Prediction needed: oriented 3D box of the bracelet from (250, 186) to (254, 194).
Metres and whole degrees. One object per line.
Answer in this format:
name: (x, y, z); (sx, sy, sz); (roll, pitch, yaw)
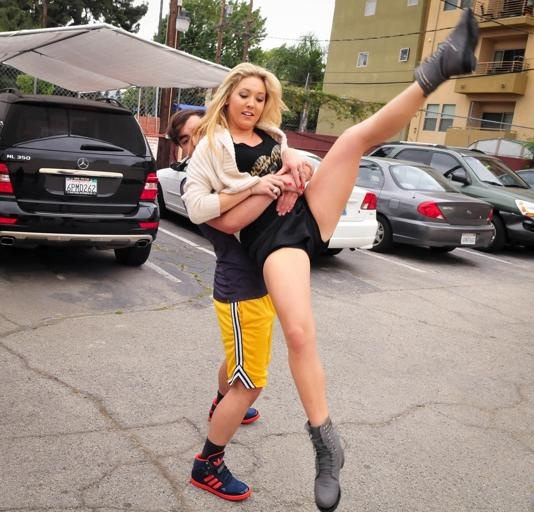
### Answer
bracelet: (-0.053, -0.233, 1.507); (0.017, 0.015, 0.017); (0, -2, 1)

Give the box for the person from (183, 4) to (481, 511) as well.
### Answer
person: (0.081, 0.052, 1.587); (0.903, 1.825, 0.455); (15, 10, 33)

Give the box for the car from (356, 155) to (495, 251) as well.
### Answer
car: (3.171, -1.021, 8.480); (1.633, 0.931, 3.270); (-5, 15, -30)

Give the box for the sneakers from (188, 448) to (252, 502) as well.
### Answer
sneakers: (-0.192, 0.930, 1.820); (0.293, 0.145, 0.104); (2, 1, 30)

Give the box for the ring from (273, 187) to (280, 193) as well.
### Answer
ring: (0.031, -0.232, 1.490); (0.018, 0.006, 0.020); (1, -20, 8)

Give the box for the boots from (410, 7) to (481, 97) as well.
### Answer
boots: (0.563, -0.661, 1.336); (0.171, 0.304, 0.188); (12, 9, 16)
